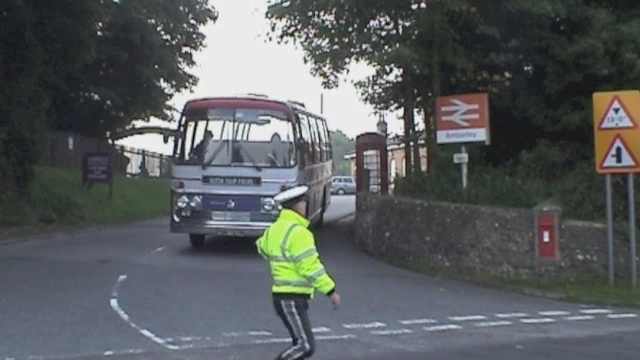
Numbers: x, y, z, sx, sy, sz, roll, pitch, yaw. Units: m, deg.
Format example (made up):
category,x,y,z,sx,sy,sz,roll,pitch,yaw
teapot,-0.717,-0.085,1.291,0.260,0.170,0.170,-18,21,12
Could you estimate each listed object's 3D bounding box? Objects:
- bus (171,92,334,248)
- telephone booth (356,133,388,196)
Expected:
category,x,y,z,sx,sy,sz,roll,pitch,yaw
bus,-2.357,-0.406,24.758,4.233,5.269,5.273,0,-2,14
telephone booth,2.446,-0.453,31.648,1.472,3.623,0.639,-6,-38,8
